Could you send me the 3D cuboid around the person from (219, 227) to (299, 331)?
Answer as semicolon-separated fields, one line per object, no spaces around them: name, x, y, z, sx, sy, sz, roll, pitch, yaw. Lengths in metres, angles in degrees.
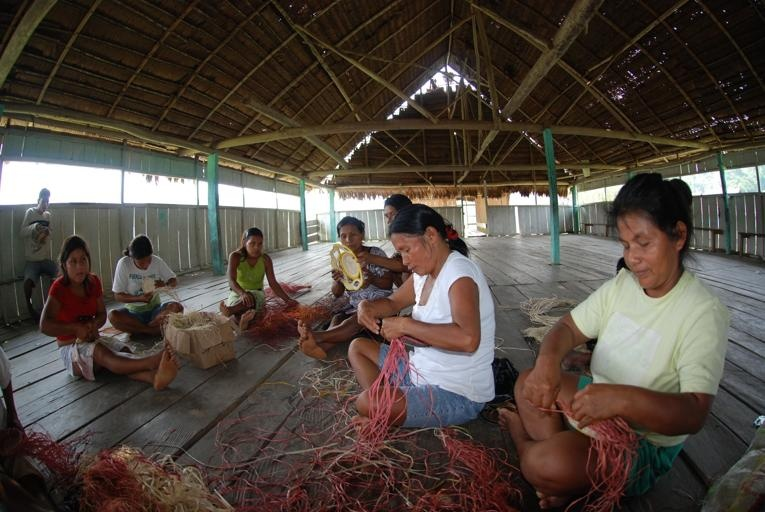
person;-1.681;0.310;5.399;1.070;1.526;0.939;-1;5;-39

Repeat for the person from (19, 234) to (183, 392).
person;-2.668;0.479;4.077;0.928;0.910;0.483;-4;4;-3

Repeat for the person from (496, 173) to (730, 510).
person;1.601;0.565;2.992;1.285;2.224;0.596;-4;4;-3

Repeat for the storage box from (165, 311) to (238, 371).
storage box;-1.838;0.816;4.348;0.694;0.437;0.593;8;9;38
